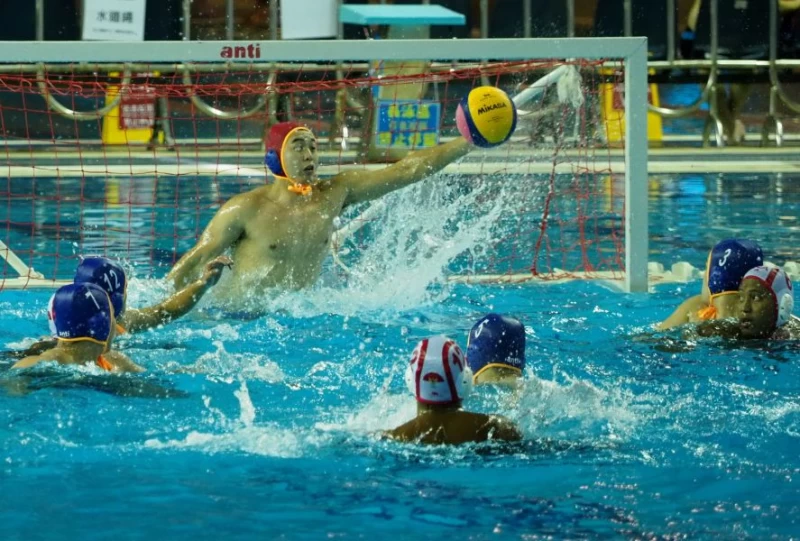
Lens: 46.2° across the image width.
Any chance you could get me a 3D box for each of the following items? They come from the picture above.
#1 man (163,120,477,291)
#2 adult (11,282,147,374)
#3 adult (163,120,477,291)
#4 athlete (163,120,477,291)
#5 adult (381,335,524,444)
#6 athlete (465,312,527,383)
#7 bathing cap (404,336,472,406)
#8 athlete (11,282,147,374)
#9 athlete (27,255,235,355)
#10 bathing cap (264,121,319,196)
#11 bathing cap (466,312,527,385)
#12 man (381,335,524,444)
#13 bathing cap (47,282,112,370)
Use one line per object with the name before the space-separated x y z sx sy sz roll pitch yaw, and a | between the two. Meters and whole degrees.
man | -0.536 -0.446 6.785 1.803 1.088 0.456 -7 23 -32
adult | -1.560 0.297 4.591 0.355 0.527 0.952 -10 13 -26
adult | -0.536 -0.446 6.785 1.803 1.088 0.456 -7 23 -32
athlete | -0.536 -0.446 6.785 1.803 1.088 0.456 -7 23 -32
adult | 0.182 0.566 4.204 0.733 0.507 0.344 -4 8 23
athlete | 0.477 0.411 4.605 0.341 0.312 0.265 -14 -23 43
bathing cap | 0.176 0.434 4.215 0.330 0.284 0.354 -3 19 14
athlete | -1.557 0.299 4.599 0.355 0.547 0.953 -9 12 -23
athlete | -1.381 0.114 4.997 0.839 0.321 0.496 -10 15 -23
bathing cap | -0.681 -0.690 5.756 0.286 0.449 0.226 1 3 -2
bathing cap | 0.491 0.384 4.616 0.255 0.308 0.337 9 -7 -36
man | 0.184 0.563 4.212 0.724 0.510 0.368 -3 8 27
bathing cap | -1.538 0.291 4.554 0.323 0.436 0.355 -1 3 -5
